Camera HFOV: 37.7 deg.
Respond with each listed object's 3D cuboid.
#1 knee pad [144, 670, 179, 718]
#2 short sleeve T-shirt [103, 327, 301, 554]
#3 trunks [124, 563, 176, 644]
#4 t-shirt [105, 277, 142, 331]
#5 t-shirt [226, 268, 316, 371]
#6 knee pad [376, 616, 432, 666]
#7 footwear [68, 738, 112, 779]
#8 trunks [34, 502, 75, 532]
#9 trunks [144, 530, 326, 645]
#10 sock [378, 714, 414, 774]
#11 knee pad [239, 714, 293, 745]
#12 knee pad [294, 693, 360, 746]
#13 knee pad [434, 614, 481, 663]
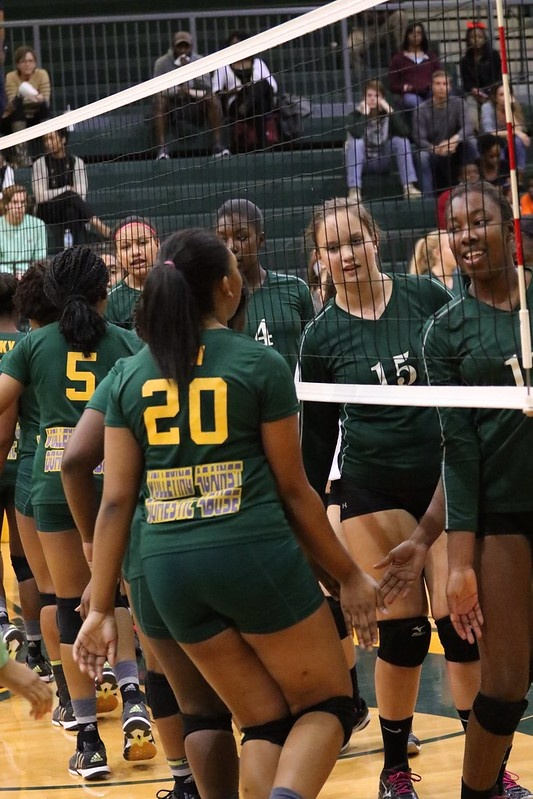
[{"bbox_3d":[-0.356,0.944,2.532,0.072,0.134,0.181,-9,8,-29],"label":"knee pad"},{"bbox_3d":[-0.116,0.101,1.744,0.498,0.450,0.261,-8,-10,26],"label":"short sleeve T-shirt"},{"bbox_3d":[-0.301,0.544,1.966,0.137,0.161,0.099,-1,6,-5],"label":"trunks"},{"bbox_3d":[-0.869,-0.570,4.776,0.192,0.318,0.347,3,-7,-17],"label":"t-shirt"},{"bbox_3d":[0.022,-0.300,3.896,0.469,0.627,0.237,-5,21,12],"label":"t-shirt"},{"bbox_3d":[0.467,0.821,2.715,0.189,0.148,0.203,-6,-6,40],"label":"knee pad"},{"bbox_3d":[-0.720,1.475,3.216,0.095,0.110,0.237,-1,-10,-15],"label":"footwear"},{"bbox_3d":[-0.884,0.490,3.276,0.188,0.122,0.124,-1,12,5],"label":"trunks"},{"bbox_3d":[-0.088,0.381,1.698,0.376,0.238,0.254,-12,9,23],"label":"trunks"},{"bbox_3d":[0.451,1.185,2.719,0.104,0.201,0.104,-4,7,8],"label":"sock"},{"bbox_3d":[0.004,0.703,1.654,0.115,0.054,0.051,-4,7,4],"label":"knee pad"},{"bbox_3d":[0.156,0.694,1.740,0.072,0.080,0.202,11,1,34],"label":"knee pad"},{"bbox_3d":[0.618,0.776,2.498,0.124,0.195,0.168,-4,7,1],"label":"knee pad"}]
